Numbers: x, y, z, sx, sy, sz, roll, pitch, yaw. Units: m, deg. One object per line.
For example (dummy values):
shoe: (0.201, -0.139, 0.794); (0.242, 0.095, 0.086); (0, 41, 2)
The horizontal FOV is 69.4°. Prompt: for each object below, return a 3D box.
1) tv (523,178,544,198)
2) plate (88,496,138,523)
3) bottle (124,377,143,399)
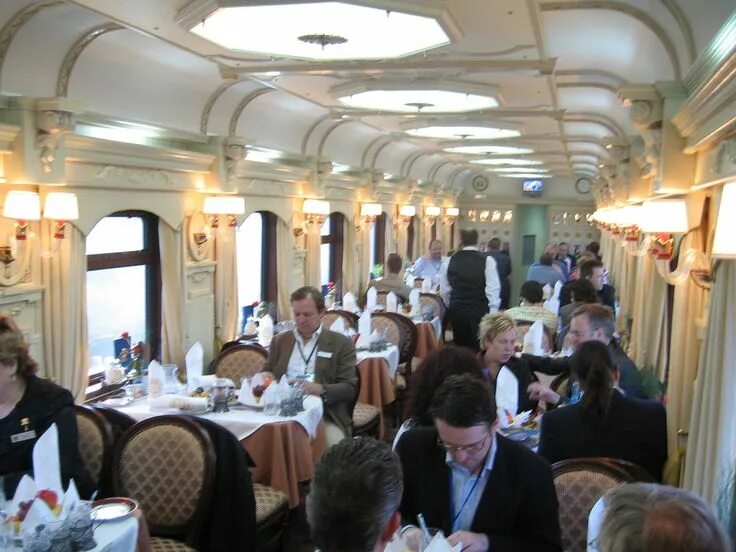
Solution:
tv: (7.349, -3.899, 23.524); (0.854, 0.842, 0.283); (0, -1, 12)
plate: (-1.484, 1.339, 3.072); (0.238, 0.057, 0.262); (1, -1, -30)
bottle: (-2.352, 1.114, 5.220); (0.231, 0.219, 0.233); (4, -5, -26)
